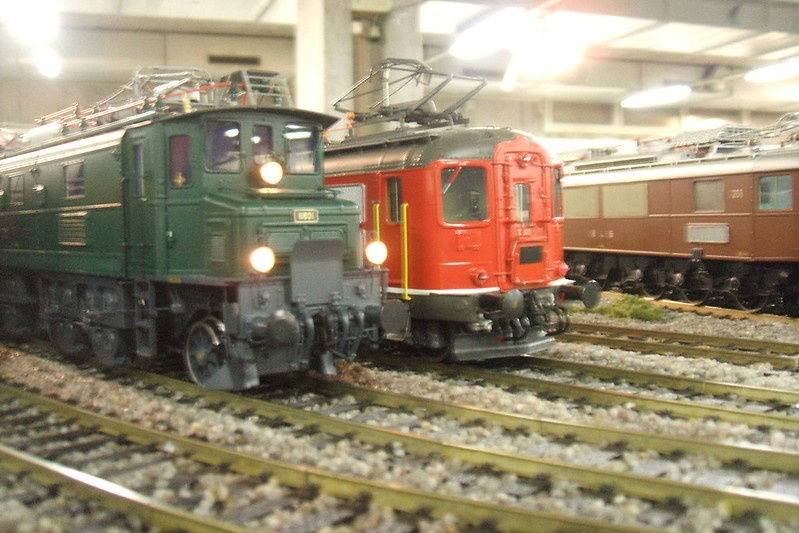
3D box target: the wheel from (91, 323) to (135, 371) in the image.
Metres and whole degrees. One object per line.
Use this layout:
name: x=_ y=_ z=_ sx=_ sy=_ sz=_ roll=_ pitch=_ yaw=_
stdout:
wheel: x=-4.924 y=1.310 z=10.695 sx=0.918 sy=0.801 sz=0.661 roll=1 pitch=1 yaw=43

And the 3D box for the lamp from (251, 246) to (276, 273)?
lamp: x=-1.945 y=-0.080 z=9.041 sx=0.393 sy=0.276 sz=0.240 roll=-6 pitch=3 yaw=-21

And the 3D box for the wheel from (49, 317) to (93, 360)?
wheel: x=-6.185 y=1.349 z=11.887 sx=0.647 sy=0.312 sz=0.897 roll=7 pitch=3 yaw=-44

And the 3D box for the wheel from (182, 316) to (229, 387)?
wheel: x=-2.857 y=1.249 z=9.438 sx=0.261 sy=1.305 sz=1.158 roll=-1 pitch=0 yaw=-42

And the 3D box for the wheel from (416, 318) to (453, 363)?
wheel: x=0.588 y=1.312 z=11.518 sx=0.654 sy=0.716 sz=0.738 roll=1 pitch=-9 yaw=-9
